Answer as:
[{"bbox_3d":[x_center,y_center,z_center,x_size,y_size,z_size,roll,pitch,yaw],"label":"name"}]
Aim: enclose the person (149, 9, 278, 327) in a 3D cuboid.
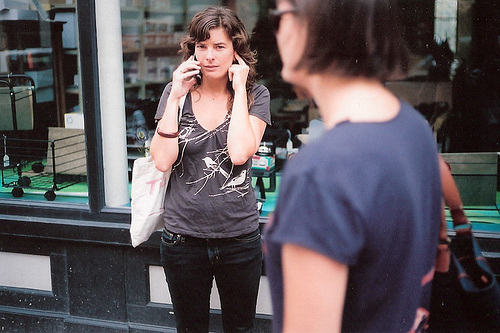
[{"bbox_3d":[-0.247,0.023,3.157,0.776,2.036,0.409,-1,8,-12],"label":"person"}]
